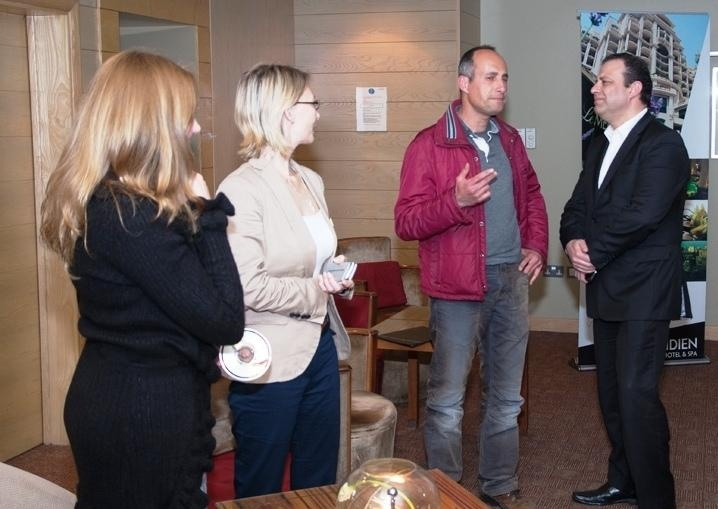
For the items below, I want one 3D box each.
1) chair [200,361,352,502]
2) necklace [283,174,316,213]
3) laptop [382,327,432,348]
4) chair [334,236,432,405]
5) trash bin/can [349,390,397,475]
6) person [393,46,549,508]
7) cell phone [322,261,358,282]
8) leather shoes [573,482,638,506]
[{"bbox_3d":[-0.374,0.860,2.652,0.591,0.833,0.636,-7,-20,19],"label":"chair"},{"bbox_3d":[-0.246,-0.239,2.150,0.101,0.166,0.038,-11,-17,-48],"label":"necklace"},{"bbox_3d":[0.359,0.582,3.800,0.192,0.017,0.223,1,8,33],"label":"laptop"},{"bbox_3d":[0.214,0.511,4.402,0.938,1.136,1.027,3,15,-14],"label":"chair"},{"bbox_3d":[0.062,0.894,2.743,0.244,0.274,0.286,1,1,-1],"label":"trash bin/can"},{"bbox_3d":[0.658,0.130,2.892,0.814,2.476,0.564,-7,11,-27],"label":"person"},{"bbox_3d":[-0.077,0.068,2.007,0.102,0.074,0.025,2,-32,32],"label":"cell phone"},{"bbox_3d":[1.351,1.326,2.947,0.295,0.127,0.124,2,-4,7],"label":"leather shoes"}]
